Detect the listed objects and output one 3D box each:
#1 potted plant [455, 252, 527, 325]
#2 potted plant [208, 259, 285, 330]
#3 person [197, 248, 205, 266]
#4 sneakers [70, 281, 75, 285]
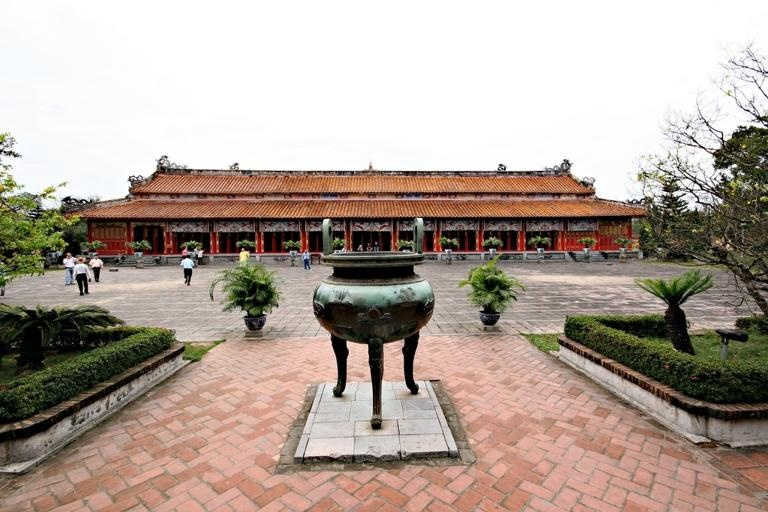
[{"bbox_3d":[2.389,0.767,10.889,1.048,1.556,1.422,-2,2,10],"label":"potted plant"},{"bbox_3d":[-3.063,0.992,10.516,1.533,1.243,1.470,-3,-11,-11],"label":"potted plant"},{"bbox_3d":[-10.630,0.034,27.837,0.264,0.709,1.028,-3,2,-9],"label":"person"},{"bbox_3d":[-11.626,1.027,17.991,0.087,0.126,0.153,5,-11,-19],"label":"sneakers"}]
